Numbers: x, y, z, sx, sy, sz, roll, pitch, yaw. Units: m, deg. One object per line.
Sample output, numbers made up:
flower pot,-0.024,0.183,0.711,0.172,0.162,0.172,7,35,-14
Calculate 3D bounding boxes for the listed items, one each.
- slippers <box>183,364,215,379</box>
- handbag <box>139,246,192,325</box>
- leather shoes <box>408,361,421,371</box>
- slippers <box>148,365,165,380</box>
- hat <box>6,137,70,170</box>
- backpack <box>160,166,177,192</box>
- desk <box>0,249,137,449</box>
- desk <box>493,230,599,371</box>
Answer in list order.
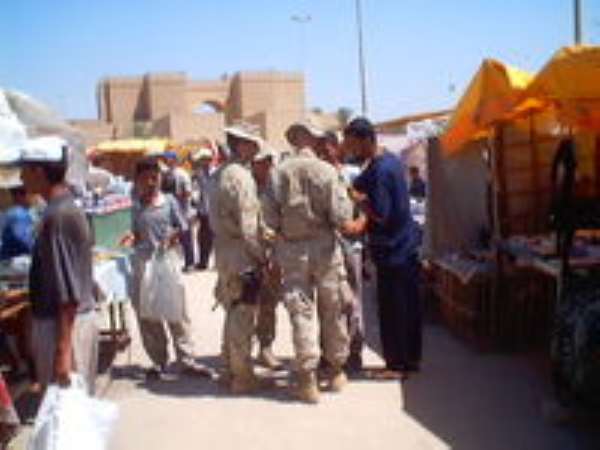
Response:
slippers,-1.027,1.507,5.240,0.326,0.165,0.129,1,7,-6
handbag,-1.400,0.662,5.145,0.506,0.725,0.425,-29,-25,34
leather shoes,1.149,1.419,5.054,0.104,0.119,0.070,-3,9,-9
slippers,-1.462,1.507,5.170,0.092,0.069,0.177,2,21,-3
hat,-1.704,-0.472,3.314,0.264,0.143,0.204,-1,2,-10
backpack,-2.539,-0.847,9.882,0.332,0.696,0.639,-4,6,-16
desk,-2.083,1.014,5.353,0.931,1.297,1.262,-2,4,9
desk,2.504,0.582,5.052,0.879,1.202,1.552,0,9,12
